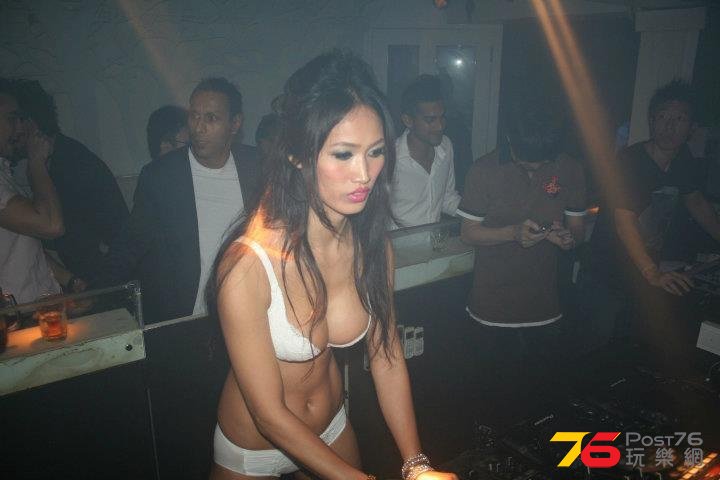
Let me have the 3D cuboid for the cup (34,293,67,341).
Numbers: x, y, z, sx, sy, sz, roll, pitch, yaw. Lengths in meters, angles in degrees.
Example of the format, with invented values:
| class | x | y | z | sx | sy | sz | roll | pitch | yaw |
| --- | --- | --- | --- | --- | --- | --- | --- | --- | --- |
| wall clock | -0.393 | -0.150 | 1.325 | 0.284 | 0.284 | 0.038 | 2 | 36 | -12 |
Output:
| class | x | y | z | sx | sy | sz | roll | pitch | yaw |
| --- | --- | --- | --- | --- | --- | --- | --- | --- | --- |
| cup | -1.711 | 0.441 | 3.166 | 0.151 | 0.243 | 0.148 | -4 | 1 | 0 |
